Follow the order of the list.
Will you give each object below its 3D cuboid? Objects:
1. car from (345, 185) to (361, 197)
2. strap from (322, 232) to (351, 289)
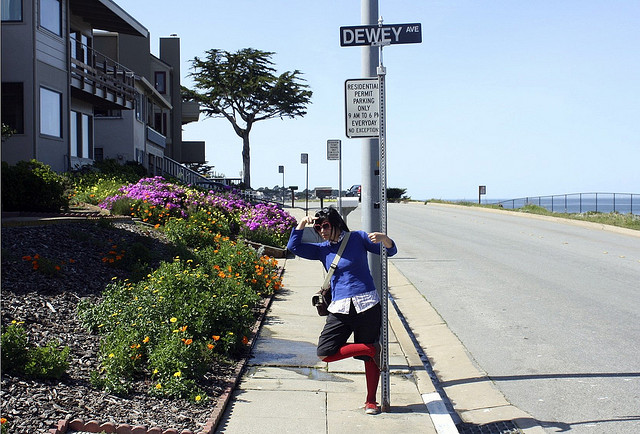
[{"bbox_3d":[2.885,-2.232,55.531,1.220,1.137,2.057,-2,9,-25],"label":"car"},{"bbox_3d":[0.228,0.576,8.492,0.079,0.786,0.111,16,-5,40],"label":"strap"}]
